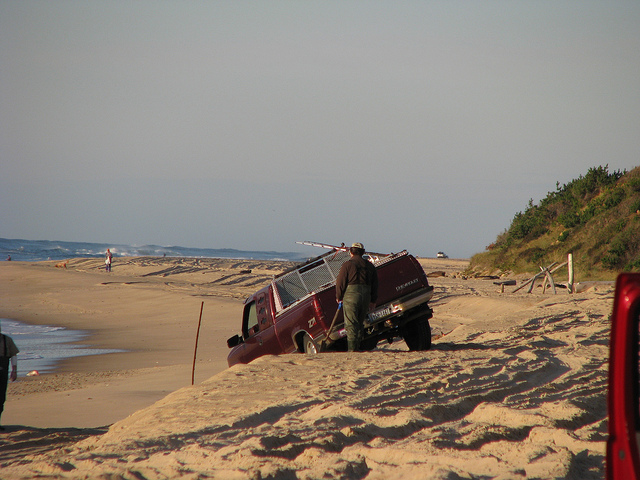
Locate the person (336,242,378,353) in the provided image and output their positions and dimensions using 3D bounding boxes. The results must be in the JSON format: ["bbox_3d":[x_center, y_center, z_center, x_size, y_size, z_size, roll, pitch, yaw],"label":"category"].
[{"bbox_3d":[0.665,1.084,10.958,0.676,1.295,0.405,-3,-2,-40],"label":"person"}]

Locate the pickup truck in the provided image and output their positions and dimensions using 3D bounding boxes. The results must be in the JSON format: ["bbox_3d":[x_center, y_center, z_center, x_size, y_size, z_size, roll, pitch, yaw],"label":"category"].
[{"bbox_3d":[0.104,1.576,13.239,2.602,2.212,4.945,-21,-2,-23],"label":"pickup truck"}]
